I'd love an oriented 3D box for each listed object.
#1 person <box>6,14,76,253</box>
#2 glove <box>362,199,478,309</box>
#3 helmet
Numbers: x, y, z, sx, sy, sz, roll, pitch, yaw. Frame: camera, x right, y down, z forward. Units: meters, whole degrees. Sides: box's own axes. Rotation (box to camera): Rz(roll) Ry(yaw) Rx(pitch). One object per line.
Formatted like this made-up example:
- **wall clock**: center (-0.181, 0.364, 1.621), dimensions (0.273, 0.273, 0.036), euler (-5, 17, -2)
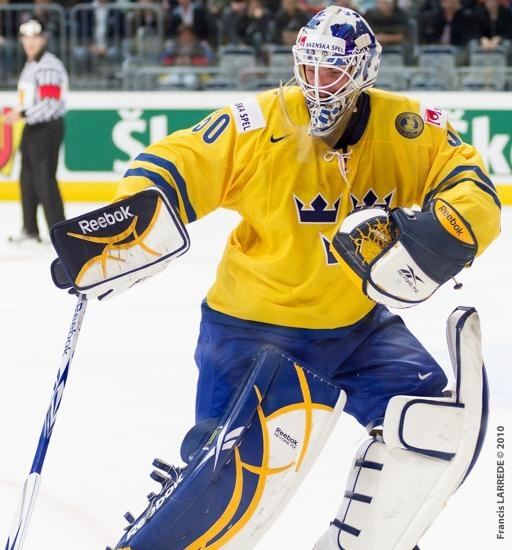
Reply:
- **person**: center (-1.450, -0.920, 5.656), dimensions (0.388, 1.444, 0.671), euler (1, 18, -16)
- **glove**: center (0.326, -0.037, 1.851), dimensions (0.263, 0.168, 0.175), euler (-11, -1, 5)
- **helmet**: center (0.198, -0.522, 1.931), dimensions (0.192, 0.171, 0.221), euler (8, 29, 19)
